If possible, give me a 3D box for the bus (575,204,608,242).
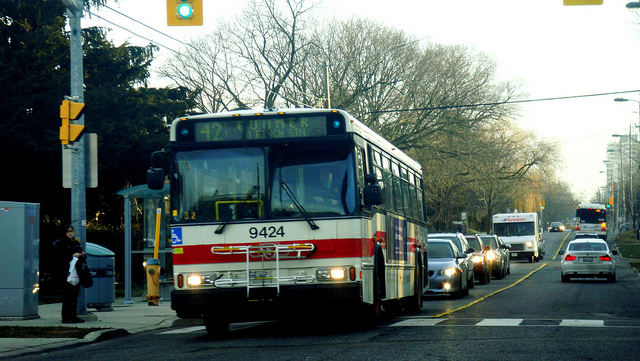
[{"bbox_3d":[27.173,3.956,83.896,2.012,2.143,4.606,0,-7,5],"label":"bus"}]

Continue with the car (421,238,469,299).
[{"bbox_3d":[4.976,3.728,36.515,2.690,2.348,6.536,2,-2,15],"label":"car"}]

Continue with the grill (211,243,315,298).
[{"bbox_3d":[-1.662,2.731,25.144,3.254,1.546,0.450,-4,-4,18],"label":"grill"}]

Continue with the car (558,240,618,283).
[{"bbox_3d":[13.270,4.096,41.459,2.347,1.536,4.762,-1,-3,14],"label":"car"}]
